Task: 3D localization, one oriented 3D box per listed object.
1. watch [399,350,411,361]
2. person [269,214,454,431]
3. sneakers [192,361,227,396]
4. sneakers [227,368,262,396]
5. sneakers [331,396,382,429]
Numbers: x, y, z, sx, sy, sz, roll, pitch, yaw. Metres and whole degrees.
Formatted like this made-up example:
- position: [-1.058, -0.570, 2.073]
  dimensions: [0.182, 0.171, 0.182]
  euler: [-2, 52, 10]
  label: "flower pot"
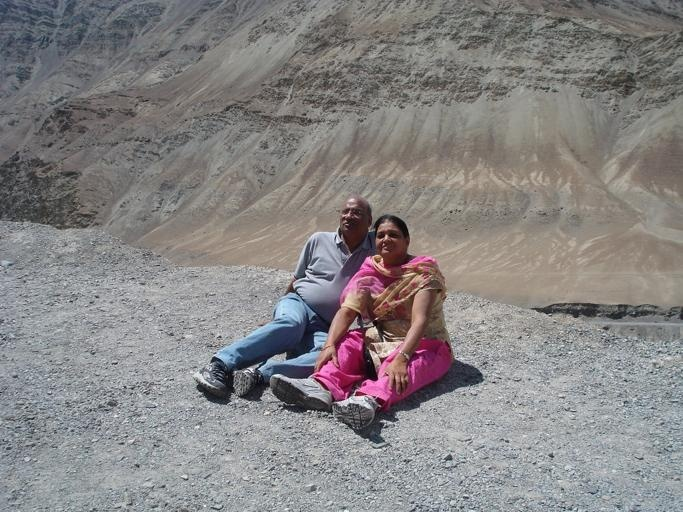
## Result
- position: [0.483, 0.770, 4.707]
  dimensions: [0.083, 0.093, 0.033]
  euler: [24, 82, 36]
  label: "watch"
- position: [0.194, 0.464, 4.762]
  dimensions: [0.814, 1.375, 1.407]
  euler: [10, 30, 32]
  label: "person"
- position: [-1.043, 0.982, 4.838]
  dimensions: [0.341, 0.092, 0.221]
  euler: [26, 52, 27]
  label: "sneakers"
- position: [-0.757, 0.985, 4.829]
  dimensions: [0.269, 0.197, 0.214]
  euler: [-11, 25, -9]
  label: "sneakers"
- position: [0.111, 1.141, 4.537]
  dimensions: [0.394, 0.161, 0.181]
  euler: [-7, 6, 34]
  label: "sneakers"
